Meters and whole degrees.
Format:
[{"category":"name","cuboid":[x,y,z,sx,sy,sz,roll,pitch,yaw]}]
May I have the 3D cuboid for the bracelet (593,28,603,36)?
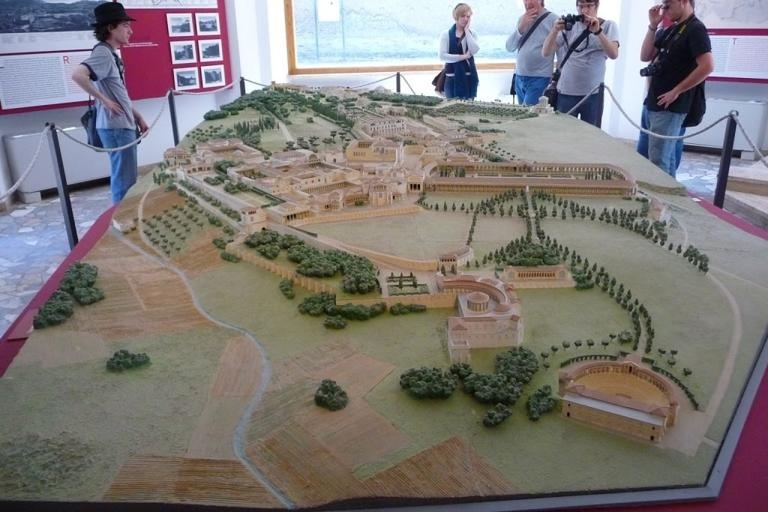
[{"category":"bracelet","cuboid":[8.005,-8.275,17.958,0.257,0.234,0.640,7,22,21]}]
